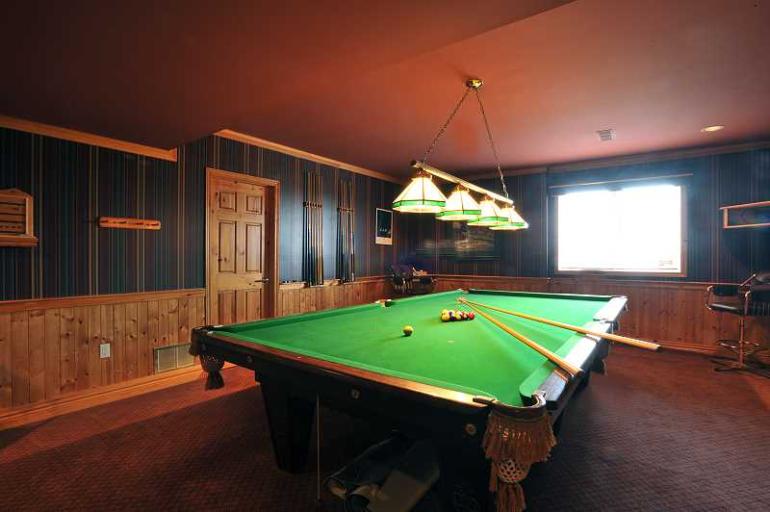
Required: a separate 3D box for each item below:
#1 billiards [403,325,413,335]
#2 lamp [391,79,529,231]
[{"bbox_3d":[0.189,0.607,4.147,0.064,0.065,0.070,-36,-12,3],"label":"billiards"},{"bbox_3d":[0.802,-1.141,5.147,1.357,1.547,1.538,8,1,5],"label":"lamp"}]
